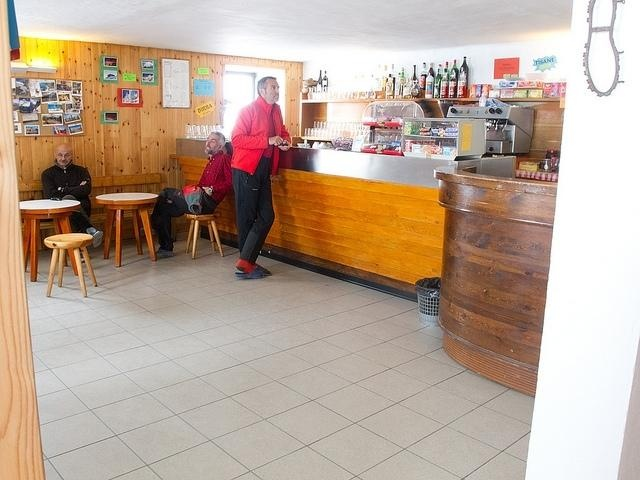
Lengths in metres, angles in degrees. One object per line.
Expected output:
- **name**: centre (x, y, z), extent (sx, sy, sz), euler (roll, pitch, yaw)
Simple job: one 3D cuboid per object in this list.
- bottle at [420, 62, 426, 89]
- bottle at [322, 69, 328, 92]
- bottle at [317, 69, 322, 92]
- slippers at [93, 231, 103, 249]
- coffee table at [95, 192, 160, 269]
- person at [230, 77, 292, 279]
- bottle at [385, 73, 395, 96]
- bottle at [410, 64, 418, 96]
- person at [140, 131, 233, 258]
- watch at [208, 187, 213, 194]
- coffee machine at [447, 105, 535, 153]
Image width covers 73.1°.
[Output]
- **bottle**: centre (1.625, -2.572, 6.777), extent (0.111, 0.433, 0.290), euler (3, 17, 13)
- **bottle**: centre (0.096, -2.987, 8.065), extent (0.112, 0.370, 0.133), euler (11, 21, 34)
- **bottle**: centre (0.015, -2.997, 8.092), extent (0.095, 0.374, 0.156), euler (0, 17, 3)
- **slippers**: centre (-2.929, -0.017, 5.727), extent (0.111, 0.278, 0.098), euler (50, 38, 15)
- **coffee table**: centre (-2.618, -0.217, 5.976), extent (0.777, 0.918, 1.426), euler (-10, 18, -25)
- **person**: centre (-0.722, -0.737, 5.135), extent (0.565, 2.275, 0.881), euler (5, 18, 19)
- **bottle**: centre (1.156, -2.545, 7.117), extent (0.156, 0.365, 0.356), euler (1, 17, 8)
- **bottle**: centre (1.497, -2.512, 6.805), extent (0.136, 0.519, 0.479), euler (2, 17, 11)
- **person**: centre (-1.728, -0.617, 5.867), extent (1.140, 1.626, 0.594), euler (-4, 18, -10)
- **watch**: centre (-1.432, -0.647, 5.675), extent (0.036, 0.079, 0.077), euler (14, 23, 41)
- **coffee machine**: centre (2.024, -1.333, 5.148), extent (0.694, 0.587, 0.934), euler (-8, 12, -39)
